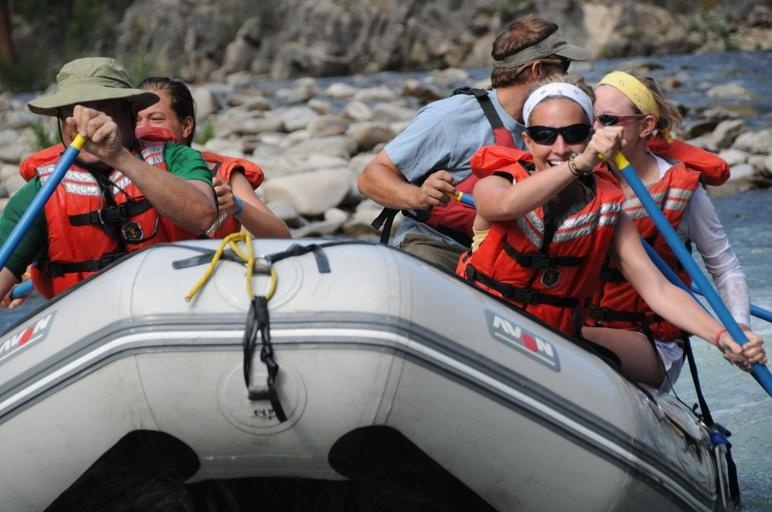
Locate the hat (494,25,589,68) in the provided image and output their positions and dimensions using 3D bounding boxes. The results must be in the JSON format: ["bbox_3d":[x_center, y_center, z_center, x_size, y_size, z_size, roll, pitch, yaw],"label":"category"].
[{"bbox_3d":[0.758,-1.006,4.551,0.359,0.107,0.216,-12,11,-11],"label":"hat"}]

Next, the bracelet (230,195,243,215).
[{"bbox_3d":[-0.676,-0.236,4.188,0.026,0.074,0.064,-2,-8,9],"label":"bracelet"}]

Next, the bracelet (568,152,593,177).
[{"bbox_3d":[0.743,-0.356,3.545,0.089,0.040,0.104,21,10,-3],"label":"bracelet"}]

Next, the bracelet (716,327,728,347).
[{"bbox_3d":[1.347,0.330,3.725,0.018,0.070,0.051,9,1,-1],"label":"bracelet"}]

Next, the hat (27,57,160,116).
[{"bbox_3d":[-1.252,-0.698,3.920,0.532,0.274,0.360,-9,29,-16],"label":"hat"}]

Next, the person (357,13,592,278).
[{"bbox_3d":[0.446,-0.369,4.609,0.999,1.579,0.870,10,-1,-34],"label":"person"}]
